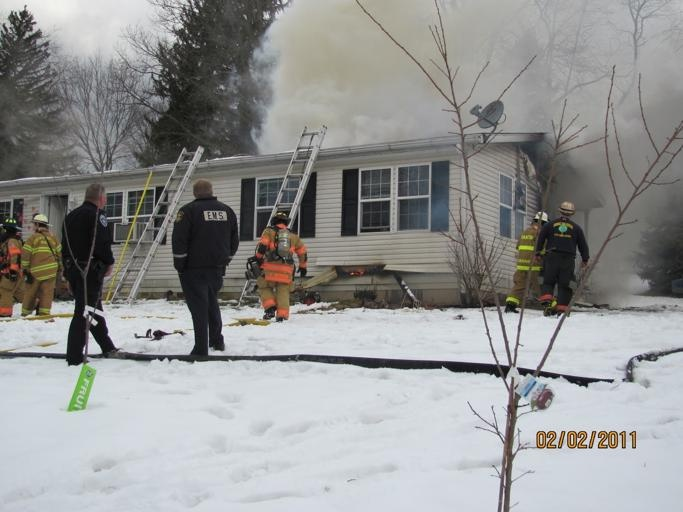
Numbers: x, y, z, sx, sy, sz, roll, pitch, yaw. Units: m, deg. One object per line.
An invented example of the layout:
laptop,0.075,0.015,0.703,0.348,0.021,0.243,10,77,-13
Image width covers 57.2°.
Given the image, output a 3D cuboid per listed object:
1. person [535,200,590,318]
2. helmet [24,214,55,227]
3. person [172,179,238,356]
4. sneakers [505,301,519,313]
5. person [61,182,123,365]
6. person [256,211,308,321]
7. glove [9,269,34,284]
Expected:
person,3.600,0.058,10.339,0.752,1.822,1.175,2,7,20
helmet,-6.927,-0.821,14.431,0.513,0.262,0.533,3,-3,-11
person,-1.576,0.132,7.177,0.472,1.987,0.784,2,7,22
sneakers,2.899,0.895,10.878,0.201,0.280,0.277,4,-2,13
person,-2.646,0.182,6.593,0.514,1.862,1.408,-3,7,-20
person,-0.990,0.174,10.172,0.670,1.726,0.934,2,7,21
glove,-5.474,0.345,10.806,0.281,0.204,0.363,3,-5,-44
